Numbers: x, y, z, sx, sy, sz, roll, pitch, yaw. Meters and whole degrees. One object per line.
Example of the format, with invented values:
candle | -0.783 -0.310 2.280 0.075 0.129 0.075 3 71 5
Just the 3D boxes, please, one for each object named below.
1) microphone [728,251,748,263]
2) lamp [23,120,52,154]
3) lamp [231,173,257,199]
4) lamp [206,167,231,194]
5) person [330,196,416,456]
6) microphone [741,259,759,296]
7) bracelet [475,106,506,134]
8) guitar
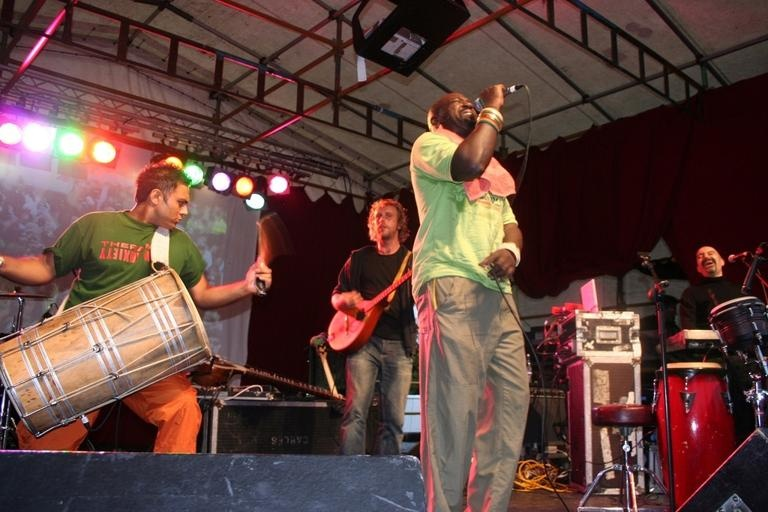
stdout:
microphone | 3.859 0.005 6.962 0.091 0.097 0.306 -1 -14 -12
lamp | -5.254 -1.823 9.774 0.436 0.441 0.203 8 -8 -31
lamp | -2.442 -1.252 11.292 0.362 0.377 0.232 -39 18 -20
lamp | -2.852 -1.320 11.148 0.381 0.414 0.254 2 5 -19
person | -0.068 0.607 6.116 0.805 2.492 0.873 5 -7 -10
microphone | 3.929 0.217 6.856 0.111 0.452 0.100 9 0 31
bracelet | 0.727 -0.941 4.375 0.170 0.193 0.189 3 -7 8
guitar | -0.235 0.618 6.118 1.147 0.462 0.174 -39 -48 24
